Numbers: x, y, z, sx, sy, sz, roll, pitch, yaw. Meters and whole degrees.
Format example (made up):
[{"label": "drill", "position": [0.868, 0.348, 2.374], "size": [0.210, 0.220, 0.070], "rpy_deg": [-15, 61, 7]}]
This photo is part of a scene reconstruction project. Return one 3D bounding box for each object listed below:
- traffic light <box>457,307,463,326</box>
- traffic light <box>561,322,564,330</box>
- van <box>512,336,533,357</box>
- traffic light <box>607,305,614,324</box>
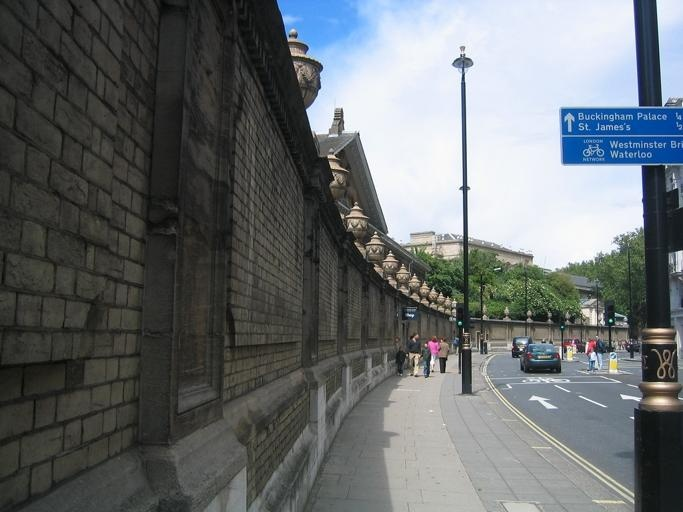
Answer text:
[{"label": "traffic light", "position": [4.364, 2.191, 22.352], "size": [0.206, 0.826, 1.134], "rpy_deg": [1, -6, 12]}, {"label": "traffic light", "position": [19.593, 6.293, 53.976], "size": [0.353, 0.400, 0.713], "rpy_deg": [-8, -32, 15]}, {"label": "van", "position": [15.330, 8.192, 51.335], "size": [2.017, 2.268, 3.745], "rpy_deg": [0, -4, 17]}, {"label": "traffic light", "position": [14.081, 3.094, 31.815], "size": [0.346, 1.100, 0.993], "rpy_deg": [0, -6, 17]}]
